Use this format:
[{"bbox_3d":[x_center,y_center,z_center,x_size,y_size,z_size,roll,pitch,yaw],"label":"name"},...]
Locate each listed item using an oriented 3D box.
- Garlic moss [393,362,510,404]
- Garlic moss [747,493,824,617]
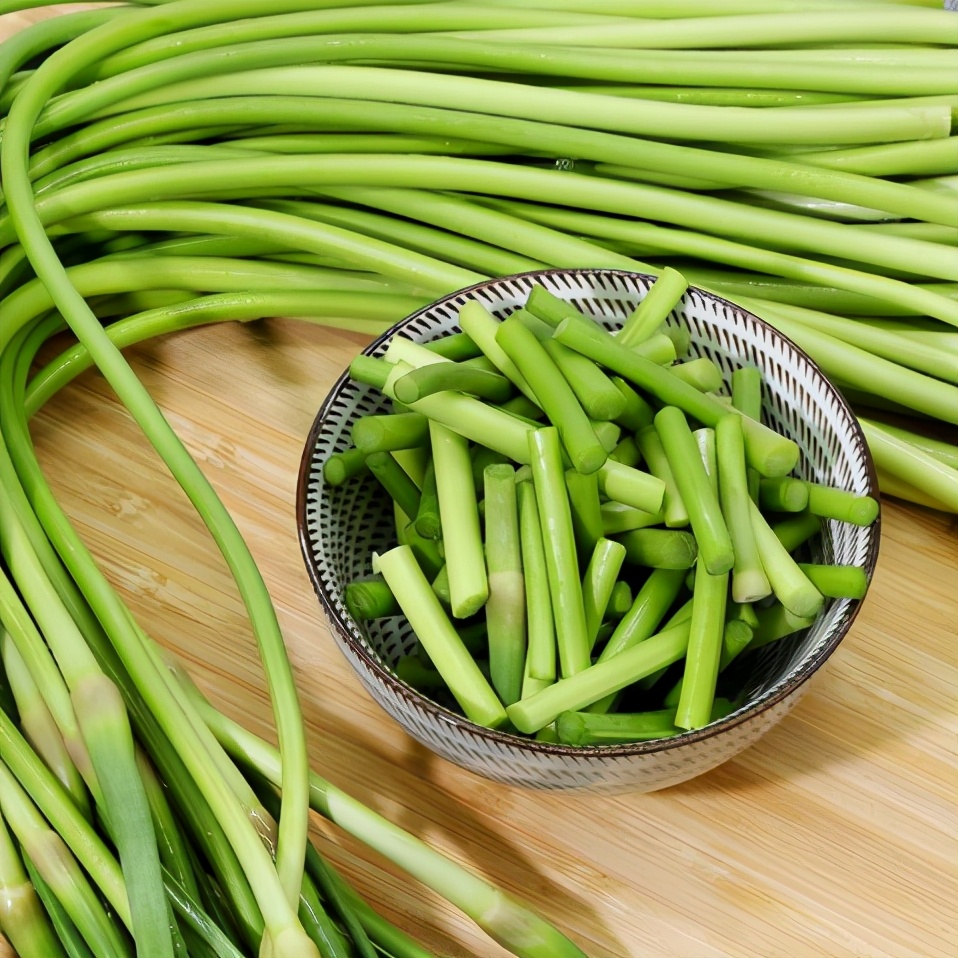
[{"bbox_3d":[-0.014,-0.058,0.599,0.030,0.098,0.019,31,106,24],"label":"Garlic moss"},{"bbox_3d":[0.163,0.042,0.543,0.021,0.019,0.070,-32,50,15],"label":"Garlic moss"}]
